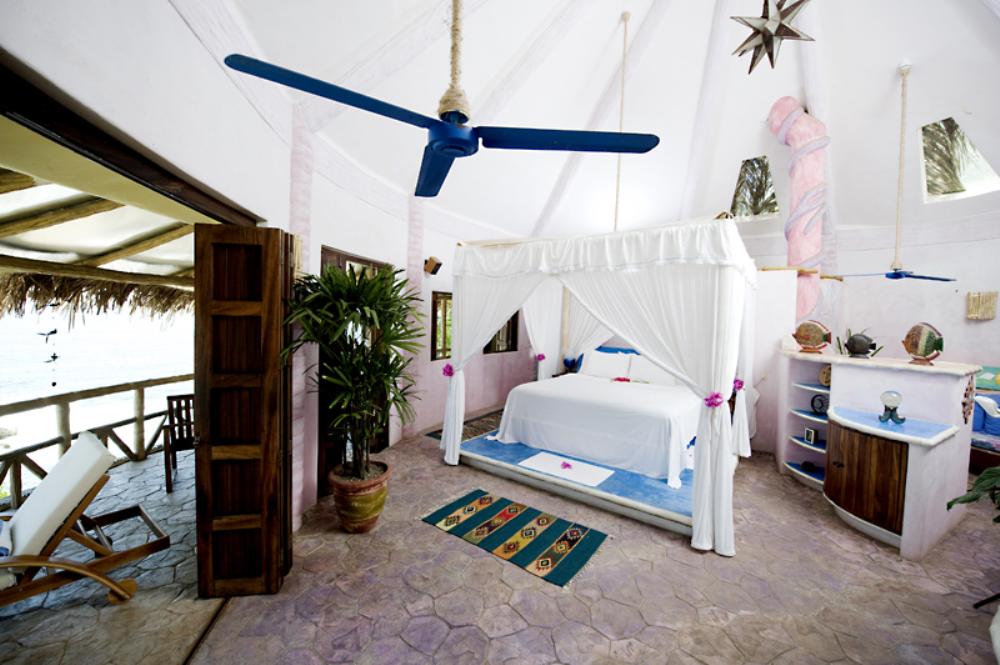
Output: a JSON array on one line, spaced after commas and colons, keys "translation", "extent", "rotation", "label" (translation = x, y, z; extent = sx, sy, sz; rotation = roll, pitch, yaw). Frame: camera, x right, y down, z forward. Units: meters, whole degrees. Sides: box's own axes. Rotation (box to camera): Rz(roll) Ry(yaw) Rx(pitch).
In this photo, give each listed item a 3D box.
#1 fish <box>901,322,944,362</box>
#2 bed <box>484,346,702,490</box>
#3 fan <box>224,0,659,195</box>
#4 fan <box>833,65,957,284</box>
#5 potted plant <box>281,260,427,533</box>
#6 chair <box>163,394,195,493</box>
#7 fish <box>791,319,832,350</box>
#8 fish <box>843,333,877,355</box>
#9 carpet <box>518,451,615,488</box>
[{"translation": [4.771, 0.101, 6.568], "extent": [0.201, 0.516, 0.476], "rotation": [2, 6, -37], "label": "fish"}, {"translation": [1.498, 1.030, 8.015], "extent": [2.495, 1.410, 1.941], "rotation": [0, 3, 35], "label": "bed"}, {"translation": [-0.380, -1.938, 4.513], "extent": [3.087, 1.483, 0.480], "rotation": [-2, 4, -5], "label": "fan"}, {"translation": [5.074, -1.984, 7.594], "extent": [1.359, 2.654, 1.884], "rotation": [1, 4, 37], "label": "fan"}, {"translation": [-1.518, 0.629, 6.551], "extent": [1.262, 2.848, 1.931], "rotation": [-2, 3, -3], "label": "potted plant"}, {"translation": [-3.804, 1.269, 6.855], "extent": [0.323, 1.119, 0.602], "rotation": [-4, 4, -30], "label": "chair"}, {"translation": [3.798, 0.042, 7.170], "extent": [0.314, 0.353, 0.101], "rotation": [1, 5, 41], "label": "fish"}, {"translation": [4.217, 0.142, 6.848], "extent": [0.220, 0.292, 0.415], "rotation": [-1, -4, 24], "label": "fish"}, {"translation": [0.772, 1.652, 6.999], "extent": [1.038, 0.192, 0.628], "rotation": [0, 3, 34], "label": "carpet"}]
